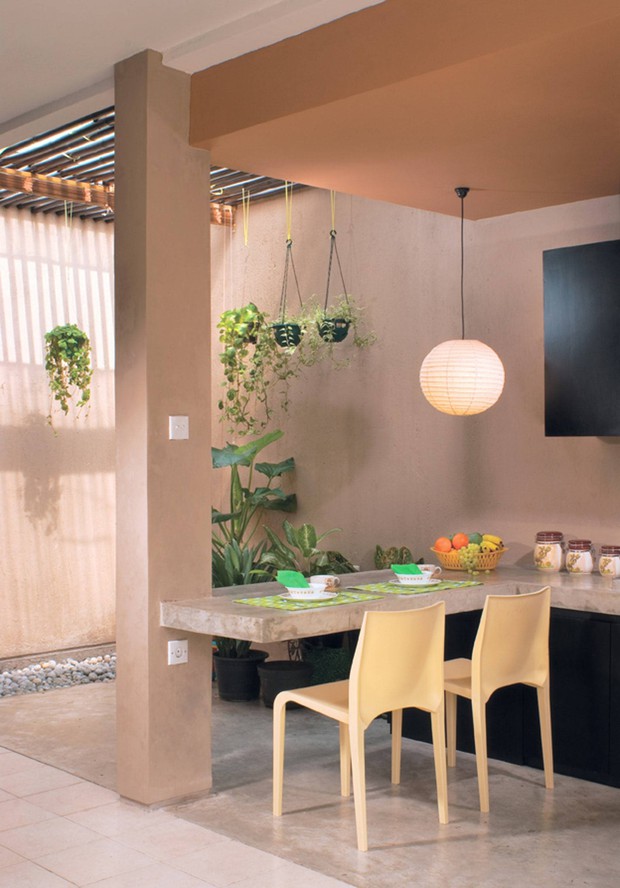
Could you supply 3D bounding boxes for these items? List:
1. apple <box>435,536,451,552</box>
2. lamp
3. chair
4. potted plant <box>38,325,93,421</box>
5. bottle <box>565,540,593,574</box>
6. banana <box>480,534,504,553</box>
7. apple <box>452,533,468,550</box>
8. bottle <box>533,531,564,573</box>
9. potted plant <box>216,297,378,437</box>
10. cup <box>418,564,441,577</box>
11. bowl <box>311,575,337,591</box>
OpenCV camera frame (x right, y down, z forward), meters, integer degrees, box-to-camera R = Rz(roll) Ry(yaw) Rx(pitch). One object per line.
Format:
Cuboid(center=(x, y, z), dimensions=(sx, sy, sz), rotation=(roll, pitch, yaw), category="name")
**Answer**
Cuboid(center=(0.623, 0.464, 3.759), dimensions=(0.063, 0.068, 0.067), rotation=(6, 8, 23), category="apple")
Cuboid(center=(0.743, -0.656, 3.804), dimensions=(0.371, 1.052, 1.086), rotation=(2, 2, 13), category="lamp")
Cuboid(center=(0.390, 0.907, 2.824), dimensions=(1.027, 0.822, 0.470), rotation=(0, 2, -40), category="chair")
Cuboid(center=(-1.663, -0.505, 5.525), dimensions=(0.312, 0.609, 0.466), rotation=(1, 2, -18), category="potted plant")
Cuboid(center=(1.168, 0.496, 3.550), dimensions=(0.137, 0.129, 0.135), rotation=(2, -5, -17), category="bottle")
Cuboid(center=(0.832, 0.459, 3.685), dimensions=(0.107, 0.052, 0.192), rotation=(0, 1, 9), category="banana")
Cuboid(center=(0.698, 0.446, 3.718), dimensions=(0.072, 0.071, 0.070), rotation=(-9, -12, -37), category="apple")
Cuboid(center=(1.046, 0.489, 3.651), dimensions=(0.129, 0.175, 0.176), rotation=(1, -12, 6), category="bottle")
Cuboid(center=(-0.238, -0.477, 5.246), dimensions=(0.486, 0.960, 1.613), rotation=(0, 2, -31), category="potted plant")
Cuboid(center=(0.487, 0.522, 3.305), dimensions=(0.085, 0.058, 0.066), rotation=(1, -1, 31), category="cup")
Cuboid(center=(0.050, 0.495, 2.860), dimensions=(0.065, 0.042, 0.064), rotation=(1, 1, 0), category="bowl")
